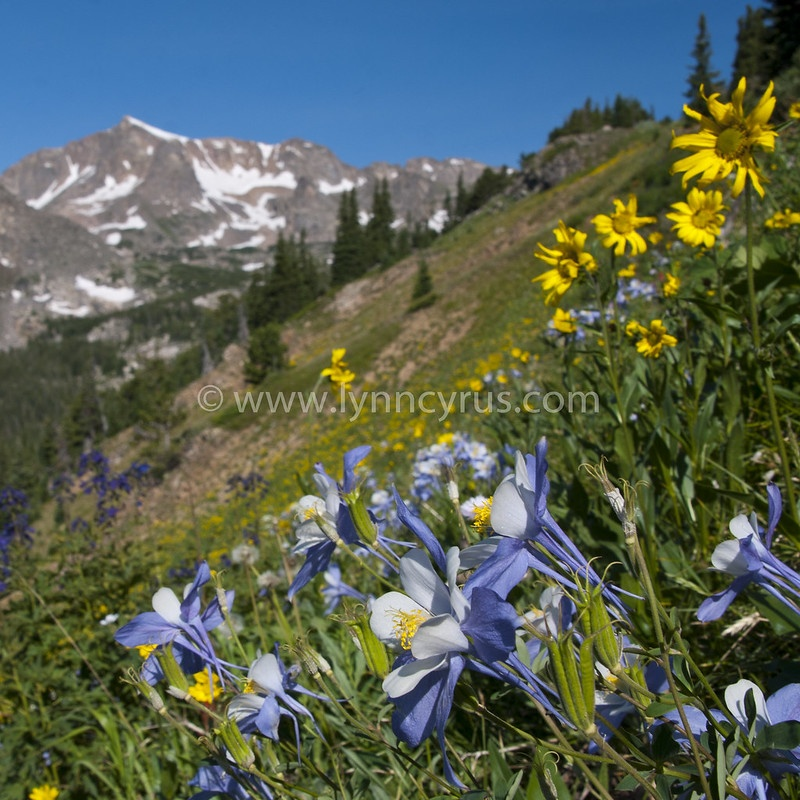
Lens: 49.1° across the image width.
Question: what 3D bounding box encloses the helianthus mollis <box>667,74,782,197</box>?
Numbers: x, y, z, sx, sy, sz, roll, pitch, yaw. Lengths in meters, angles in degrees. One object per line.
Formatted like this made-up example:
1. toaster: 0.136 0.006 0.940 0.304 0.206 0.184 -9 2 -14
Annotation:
1. helianthus mollis: 1.017 -0.799 2.723 0.331 0.372 0.330 1 18 40

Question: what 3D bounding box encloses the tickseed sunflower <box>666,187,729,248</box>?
1. tickseed sunflower: 1.109 -0.677 3.220 0.160 0.351 0.192 1 3 8

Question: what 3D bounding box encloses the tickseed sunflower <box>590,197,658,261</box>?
1. tickseed sunflower: 0.885 -0.686 3.492 0.252 0.270 0.100 -38 2 -8
